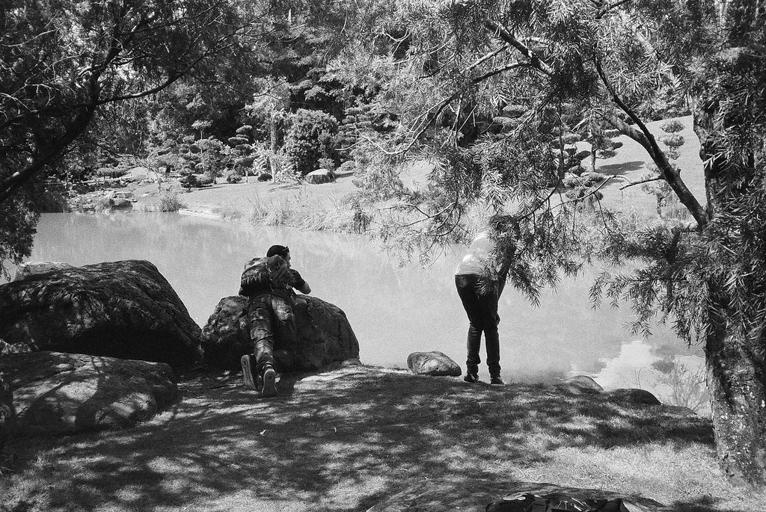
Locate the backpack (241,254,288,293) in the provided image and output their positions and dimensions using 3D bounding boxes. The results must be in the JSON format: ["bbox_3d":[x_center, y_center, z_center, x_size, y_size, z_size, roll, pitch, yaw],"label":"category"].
[{"bbox_3d":[-1.586,0.242,10.740,0.504,0.578,0.483,7,8,35],"label":"backpack"}]

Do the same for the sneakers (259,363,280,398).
[{"bbox_3d":[-1.373,1.532,9.629,0.161,0.418,0.164,2,9,-10],"label":"sneakers"}]

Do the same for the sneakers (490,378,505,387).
[{"bbox_3d":[1.477,1.635,10.230,0.088,0.117,0.262,-4,-6,42],"label":"sneakers"}]

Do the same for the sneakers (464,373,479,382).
[{"bbox_3d":[1.165,1.614,10.404,0.151,0.172,0.119,13,-5,2],"label":"sneakers"}]

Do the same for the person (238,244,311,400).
[{"bbox_3d":[-1.438,0.949,10.505,0.868,2.476,1.247,-8,-50,1],"label":"person"}]
